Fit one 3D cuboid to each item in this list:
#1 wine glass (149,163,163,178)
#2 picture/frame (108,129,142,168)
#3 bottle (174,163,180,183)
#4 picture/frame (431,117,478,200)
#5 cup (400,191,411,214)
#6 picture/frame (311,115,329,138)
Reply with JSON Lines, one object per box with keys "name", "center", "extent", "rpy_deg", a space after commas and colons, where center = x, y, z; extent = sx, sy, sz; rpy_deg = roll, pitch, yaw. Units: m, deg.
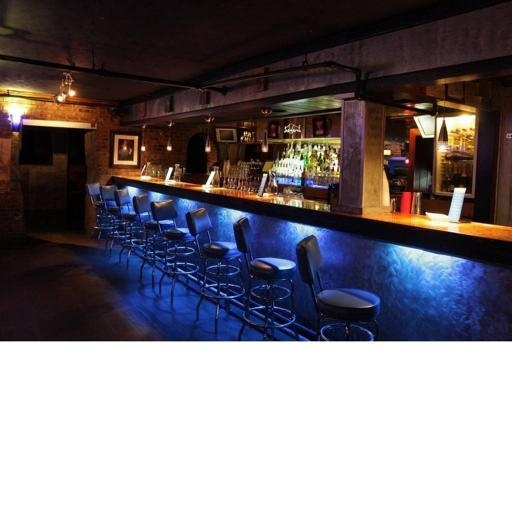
{"name": "wine glass", "center": [-2.177, -1.850, 9.275], "extent": [0.329, 0.285, 0.395], "rpy_deg": [-9, 15, -40]}
{"name": "picture/frame", "center": [-3.045, -2.501, 9.796], "extent": [0.888, 1.051, 0.083], "rpy_deg": [-1, 8, -29]}
{"name": "bottle", "center": [-1.576, -1.674, 8.604], "extent": [0.156, 0.314, 0.533], "rpy_deg": [-2, 11, -10]}
{"name": "picture/frame", "center": [2.878, -1.458, 6.202], "extent": [0.533, 1.170, 1.082], "rpy_deg": [5, 12, 22]}
{"name": "cup", "center": [1.356, -0.480, 3.848], "extent": [0.083, 0.184, 0.207], "rpy_deg": [4, 11, 16]}
{"name": "picture/frame", "center": [1.073, -2.173, 7.127], "extent": [0.375, 0.384, 0.213], "rpy_deg": [4, 9, 20]}
